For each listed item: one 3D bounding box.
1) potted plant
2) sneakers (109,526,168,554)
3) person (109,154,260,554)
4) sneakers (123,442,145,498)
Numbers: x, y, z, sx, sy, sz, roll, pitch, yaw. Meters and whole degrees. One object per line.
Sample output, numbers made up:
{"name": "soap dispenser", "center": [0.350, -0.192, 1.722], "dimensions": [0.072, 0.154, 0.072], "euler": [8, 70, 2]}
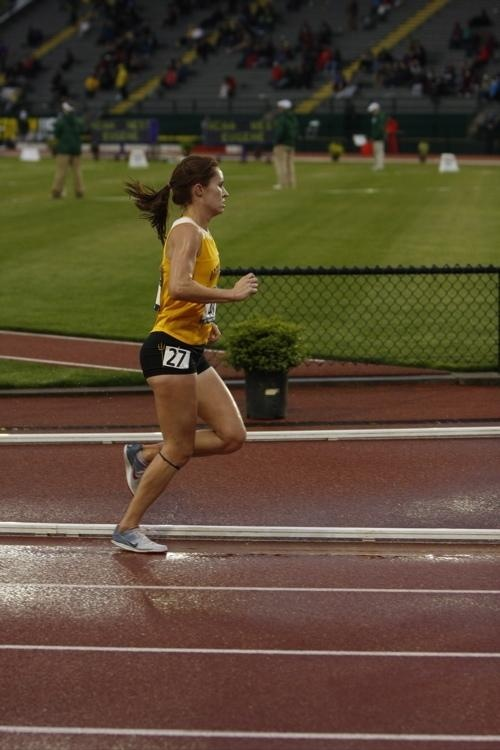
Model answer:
{"name": "potted plant", "center": [0.148, -0.075, 8.099], "dimensions": [0.718, 0.810, 0.768], "euler": [3, -6, -38]}
{"name": "sneakers", "center": [-0.525, 0.759, 4.386], "dimensions": [0.308, 0.123, 0.103], "euler": [6, -2, 0]}
{"name": "person", "center": [-0.294, -0.056, 4.114], "dimensions": [0.659, 1.816, 0.878], "euler": [-2, 7, -8]}
{"name": "sneakers", "center": [-0.552, 0.451, 4.517], "dimensions": [0.122, 0.243, 0.089], "euler": [-2, 9, 13]}
